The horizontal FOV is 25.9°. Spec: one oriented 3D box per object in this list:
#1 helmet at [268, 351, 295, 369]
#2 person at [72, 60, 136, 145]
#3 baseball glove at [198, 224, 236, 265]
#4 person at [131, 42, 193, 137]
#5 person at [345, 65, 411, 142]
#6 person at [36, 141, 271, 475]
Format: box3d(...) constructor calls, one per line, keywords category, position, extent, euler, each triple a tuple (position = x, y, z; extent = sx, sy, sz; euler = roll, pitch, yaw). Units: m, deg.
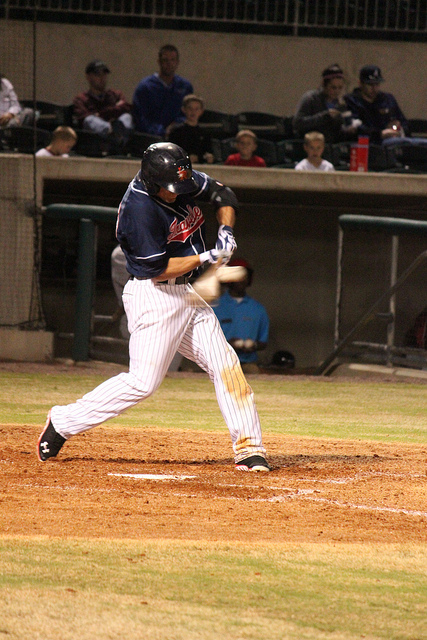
box3d(category="helmet", position=(0.670, 0.379, 8.781), extent=(0.235, 0.151, 0.298), euler=(3, 3, 3))
box3d(category="person", position=(-0.931, -1.865, 7.978), extent=(0.550, 0.711, 0.376), euler=(2, 4, -6))
box3d(category="baseball glove", position=(0.019, -0.279, 3.390), extent=(0.124, 0.151, 0.237), euler=(3, 3, -1))
box3d(category="person", position=(-0.405, -1.943, 8.001), extent=(0.572, 0.780, 0.475), euler=(1, 15, -18))
box3d(category="person", position=(1.476, -1.780, 8.325), extent=(0.586, 0.925, 0.501), euler=(-7, 19, 4))
box3d(category="person", position=(-0.175, -0.040, 3.429), extent=(0.880, 1.227, 0.360), euler=(2, 4, -10))
